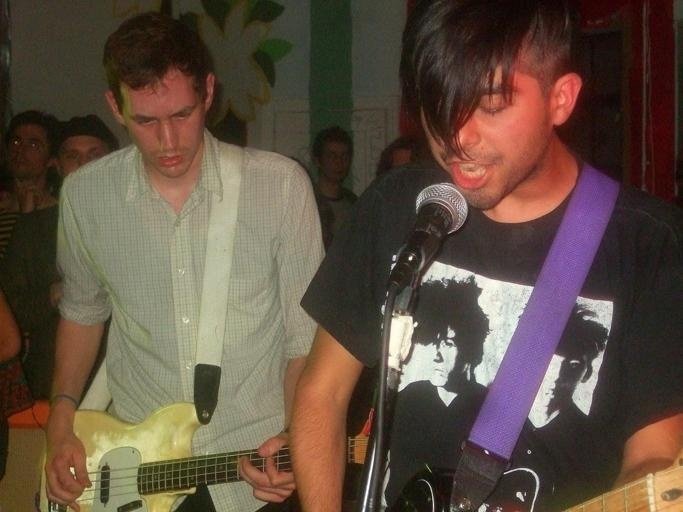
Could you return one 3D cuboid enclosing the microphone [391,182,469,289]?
[{"bbox_3d":[0.254,-0.076,2.038,0.133,0.151,0.418,22,46,15],"label":"microphone"}]
